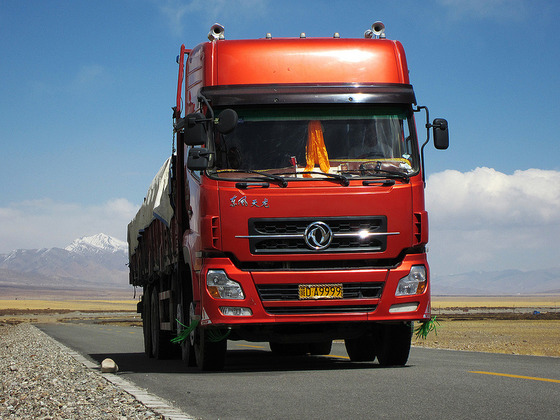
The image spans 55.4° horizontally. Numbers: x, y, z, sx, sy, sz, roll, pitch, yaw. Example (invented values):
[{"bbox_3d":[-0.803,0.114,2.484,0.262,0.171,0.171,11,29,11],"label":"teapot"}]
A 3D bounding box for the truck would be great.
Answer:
[{"bbox_3d":[-0.446,0.216,13.889,3.363,5.700,10.395,1,-7,-8],"label":"truck"}]
